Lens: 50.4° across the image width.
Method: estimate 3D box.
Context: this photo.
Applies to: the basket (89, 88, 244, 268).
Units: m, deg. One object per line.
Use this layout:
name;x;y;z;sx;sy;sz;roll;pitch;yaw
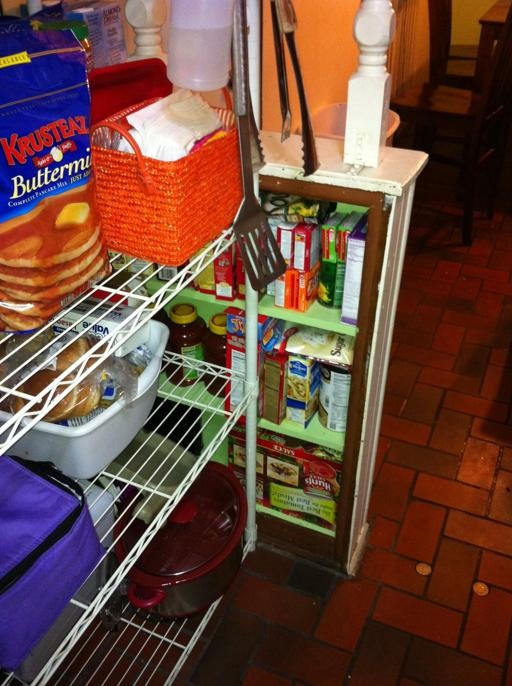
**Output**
basket;-0.111;-0.216;0.716;0.129;0.167;0.208;11;34;20
